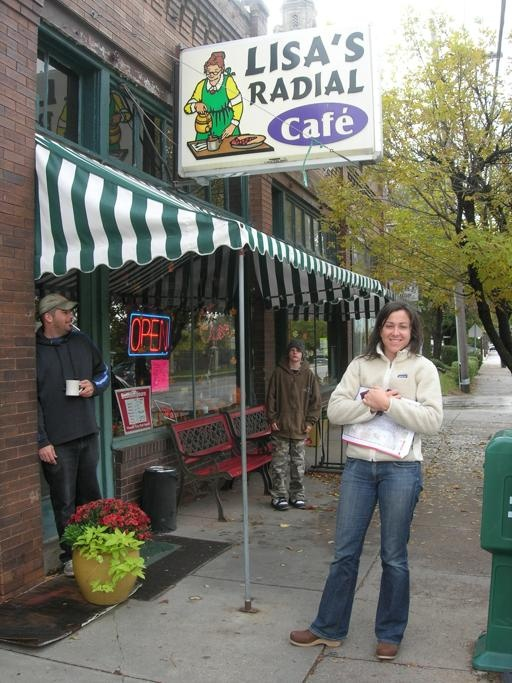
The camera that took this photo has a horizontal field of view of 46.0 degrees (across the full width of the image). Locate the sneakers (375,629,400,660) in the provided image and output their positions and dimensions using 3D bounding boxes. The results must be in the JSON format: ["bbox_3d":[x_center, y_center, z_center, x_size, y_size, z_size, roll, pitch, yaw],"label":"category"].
[{"bbox_3d":[0.642,1.476,2.931,0.075,0.095,0.207,-1,-20,11],"label":"sneakers"}]

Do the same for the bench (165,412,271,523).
[{"bbox_3d":[-0.303,1.354,6.757,0.668,1.014,1.718,-4,-5,17],"label":"bench"}]

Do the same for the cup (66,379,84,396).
[{"bbox_3d":[-1.207,0.306,4.036,0.117,0.105,0.073,3,-7,-38],"label":"cup"}]

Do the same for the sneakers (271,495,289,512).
[{"bbox_3d":[0.256,1.713,6.398,0.179,0.115,0.267,1,-3,2],"label":"sneakers"}]

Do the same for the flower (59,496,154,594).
[{"bbox_3d":[-0.974,1.322,3.775,0.588,0.605,0.543,-27,-23,34],"label":"flower"}]

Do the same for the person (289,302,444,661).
[{"bbox_3d":[0.592,0.683,3.085,0.676,1.781,0.362,0,-4,17],"label":"person"}]

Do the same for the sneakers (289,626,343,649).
[{"bbox_3d":[0.318,1.524,3.151,0.251,0.114,0.100,9,-6,3],"label":"sneakers"}]

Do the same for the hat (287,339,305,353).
[{"bbox_3d":[0.447,0.059,6.692,0.121,0.127,0.161,3,-21,6],"label":"hat"}]

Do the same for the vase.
[{"bbox_3d":[-0.866,1.409,3.619,0.364,0.299,0.360,2,2,5],"label":"vase"}]

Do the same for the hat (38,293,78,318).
[{"bbox_3d":[-1.369,-0.259,4.195,0.216,0.121,0.160,-15,7,-14],"label":"hat"}]
